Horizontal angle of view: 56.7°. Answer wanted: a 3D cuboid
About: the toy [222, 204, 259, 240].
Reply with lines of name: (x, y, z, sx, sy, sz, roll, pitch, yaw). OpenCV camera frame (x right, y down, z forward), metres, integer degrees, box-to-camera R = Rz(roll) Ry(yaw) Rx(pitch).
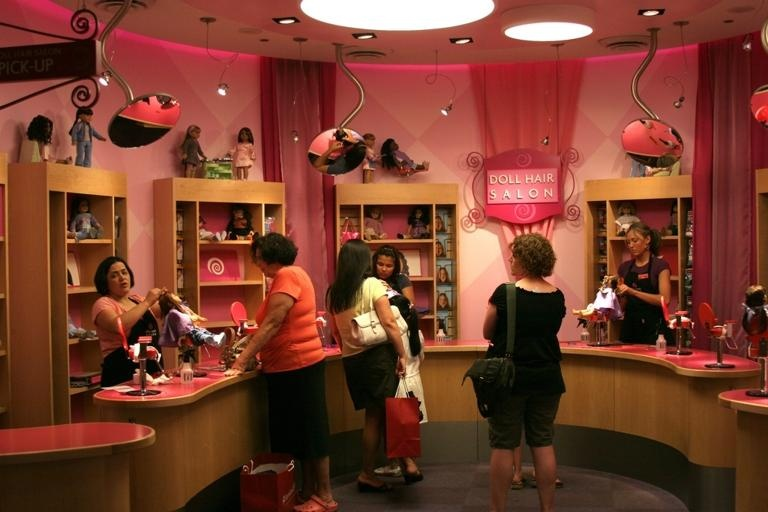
toy: (-1.502, -0.348, 7.808, 0.403, 0.496, 0.341, -1, -11, -6)

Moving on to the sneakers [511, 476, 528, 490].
sneakers: (1.134, 1.929, 6.005, 0.068, 0.075, 0.171, -2, -9, 15)

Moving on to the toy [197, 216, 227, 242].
toy: (-1.768, -0.255, 7.497, 0.343, 0.223, 0.167, -1, -6, 7)

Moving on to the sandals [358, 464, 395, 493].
sandals: (-0.034, 1.916, 6.138, 0.367, 0.258, 0.141, 0, -4, -9)

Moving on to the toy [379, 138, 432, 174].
toy: (0.167, -1.125, 8.236, 0.641, 0.460, 0.309, -3, 4, -20)

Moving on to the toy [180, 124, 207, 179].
toy: (-2.028, -1.100, 7.552, 0.265, 0.548, 0.299, -3, 3, -15)

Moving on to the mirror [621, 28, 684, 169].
mirror: (2.654, -1.529, 7.093, 0.524, 1.335, 1.047, -1, 3, 22)

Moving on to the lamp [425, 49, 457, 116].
lamp: (0.654, -1.930, 8.195, 0.344, 0.635, 0.557, -2, 3, 4)

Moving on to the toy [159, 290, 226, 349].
toy: (-1.439, 0.471, 5.311, 0.445, 0.430, 0.494, -3, 3, -17)

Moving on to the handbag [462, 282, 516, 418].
handbag: (0.759, 0.682, 5.059, 0.366, 0.954, 0.213, -2, 2, 11)

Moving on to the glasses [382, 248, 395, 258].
glasses: (0.042, -0.027, 6.172, 0.077, 0.058, 0.077, 2, -1, 4)

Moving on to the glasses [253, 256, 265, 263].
glasses: (-0.962, 0.017, 5.503, 0.027, 0.075, 0.062, -47, 23, -27)

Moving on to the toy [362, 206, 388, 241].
toy: (-0.133, -0.373, 8.091, 0.256, 0.380, 0.194, -3, 2, -11)

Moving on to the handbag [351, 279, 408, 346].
handbag: (-0.058, 0.480, 5.766, 0.512, 0.628, 0.248, -2, -12, -41)

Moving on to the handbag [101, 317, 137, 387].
handbag: (-2.000, 0.745, 5.365, 0.254, 0.474, 0.209, -3, 3, -21)

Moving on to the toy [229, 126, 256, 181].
toy: (-1.549, -1.125, 7.812, 0.276, 0.597, 0.412, -3, 3, -9)

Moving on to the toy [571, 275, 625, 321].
toy: (1.880, 0.401, 6.272, 0.438, 0.350, 0.406, -3, -6, 1)

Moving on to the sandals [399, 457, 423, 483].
sandals: (0.243, 1.886, 6.217, 0.104, 0.123, 0.307, -15, -33, -2)

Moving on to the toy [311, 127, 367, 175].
toy: (-0.453, -1.009, 6.831, 0.527, 0.434, 0.283, -3, 2, -4)

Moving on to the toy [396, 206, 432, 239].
toy: (0.399, -0.353, 8.310, 0.387, 0.452, 0.374, -1, -8, 11)

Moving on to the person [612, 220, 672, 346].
person: (2.335, 0.254, 6.442, 0.484, 1.102, 0.514, -1, 3, 22)
